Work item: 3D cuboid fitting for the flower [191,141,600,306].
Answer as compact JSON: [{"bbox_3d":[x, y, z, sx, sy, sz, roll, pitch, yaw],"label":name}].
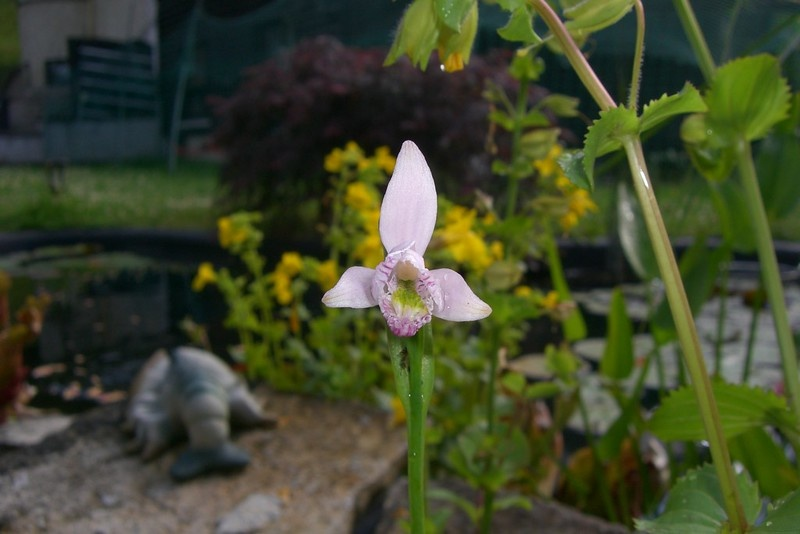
[{"bbox_3d":[0.081,-0.150,2.209,0.639,0.342,0.533,-2,6,-2],"label":"flower"}]
